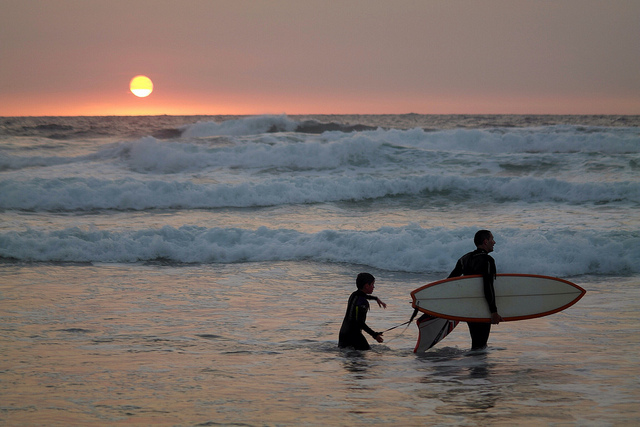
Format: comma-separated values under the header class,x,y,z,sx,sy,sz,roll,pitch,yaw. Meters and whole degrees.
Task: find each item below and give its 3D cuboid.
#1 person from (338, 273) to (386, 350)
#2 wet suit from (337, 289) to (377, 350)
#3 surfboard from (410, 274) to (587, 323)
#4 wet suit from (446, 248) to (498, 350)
class,x,y,z,sx,sy,sz,roll,pitch,yaw
person,0.770,1.835,18.617,0.869,1.316,0.457,3,1,6
wet suit,0.692,1.987,18.597,0.719,1.034,0.399,3,1,7
surfboard,3.301,1.556,18.666,4.115,0.859,0.200,-1,-19,-26
wet suit,2.873,1.609,18.600,0.880,1.786,0.303,3,1,15
